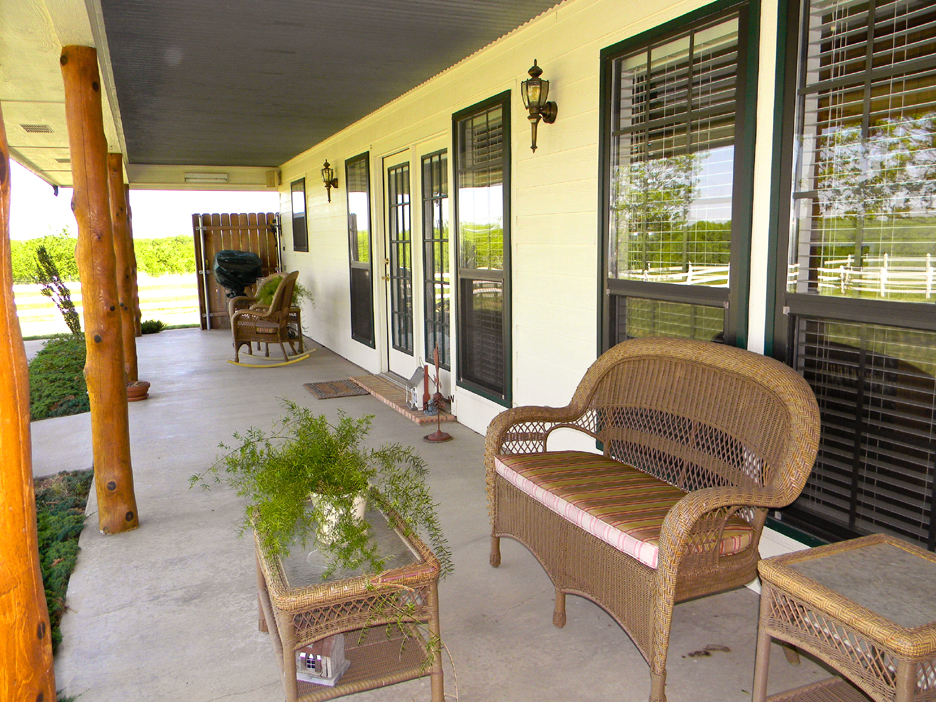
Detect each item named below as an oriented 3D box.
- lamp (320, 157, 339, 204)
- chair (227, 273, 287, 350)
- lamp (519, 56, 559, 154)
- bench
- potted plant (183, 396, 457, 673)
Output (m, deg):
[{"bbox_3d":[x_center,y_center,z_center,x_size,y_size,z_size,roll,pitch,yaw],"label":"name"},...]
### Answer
[{"bbox_3d":[-1.975,-2.418,9.047,0.164,0.603,0.827,-4,11,-16],"label":"lamp"},{"bbox_3d":[-2.802,-0.546,8.599,0.929,0.984,0.464,4,12,21],"label":"chair"},{"bbox_3d":[0.471,-1.688,4.322,0.232,0.607,0.389,-3,11,-12],"label":"lamp"},{"bbox_3d":[0.793,0.613,2.899,0.877,1.254,1.251,-6,12,-27],"label":"bench"},{"bbox_3d":[-0.642,0.549,2.740,1.110,0.843,1.245,5,4,13],"label":"potted plant"}]
